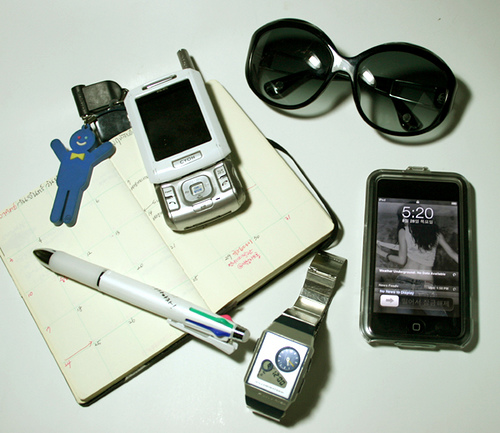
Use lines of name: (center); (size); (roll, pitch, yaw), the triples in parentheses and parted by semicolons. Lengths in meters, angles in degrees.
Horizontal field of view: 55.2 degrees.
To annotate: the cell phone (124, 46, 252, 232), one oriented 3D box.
cell phone: (-0.107, -0.117, 0.827); (0.149, 0.229, 0.180); (-21, 31, -1)
